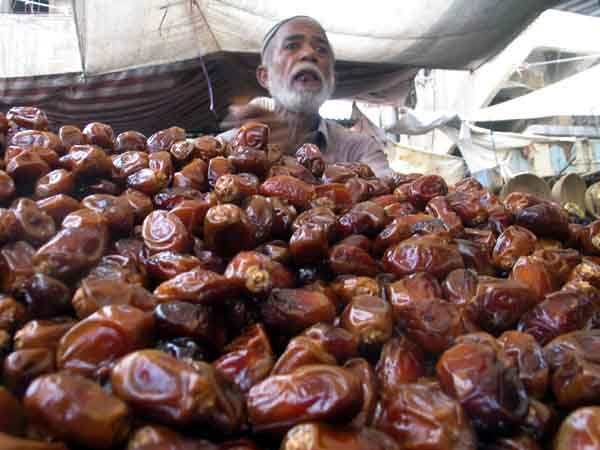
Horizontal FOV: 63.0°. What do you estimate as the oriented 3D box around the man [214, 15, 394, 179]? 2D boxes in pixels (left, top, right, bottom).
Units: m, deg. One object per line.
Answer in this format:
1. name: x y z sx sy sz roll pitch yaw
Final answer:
1. man: 0.043 -1.091 4.401 1.841 1.446 0.931 -4 -3 -13
